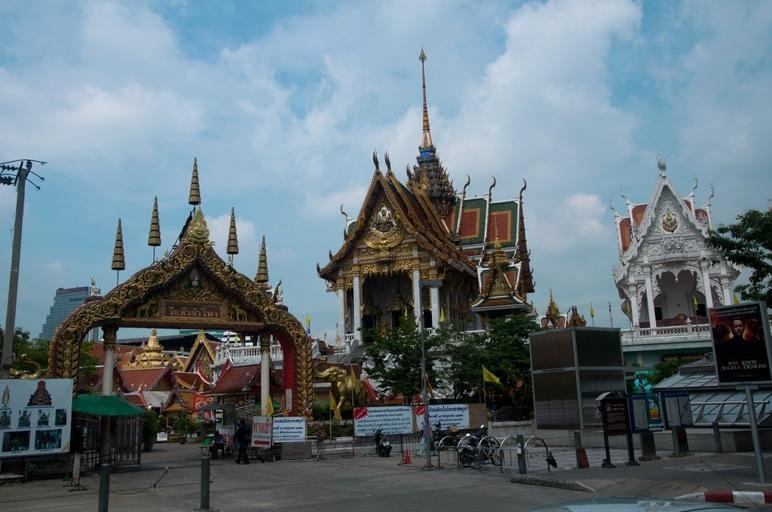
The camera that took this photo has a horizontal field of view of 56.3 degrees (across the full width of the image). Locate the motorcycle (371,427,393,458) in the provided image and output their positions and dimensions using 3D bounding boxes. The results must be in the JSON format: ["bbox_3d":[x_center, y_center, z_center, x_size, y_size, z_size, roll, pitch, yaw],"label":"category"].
[{"bbox_3d":[-0.138,7.859,30.286,0.652,1.155,0.860,-3,-15,-2],"label":"motorcycle"}]

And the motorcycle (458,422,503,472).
[{"bbox_3d":[3.341,7.126,26.381,0.866,1.130,2.278,1,-19,-2],"label":"motorcycle"}]

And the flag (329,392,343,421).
[{"bbox_3d":[-2.458,7.627,36.492,0.572,1.525,2.378,-2,-15,-8],"label":"flag"}]

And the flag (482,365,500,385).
[{"bbox_3d":[5.515,6.359,38.247,0.709,0.878,1.119,-5,-15,6],"label":"flag"}]

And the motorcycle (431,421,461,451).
[{"bbox_3d":[2.520,7.512,29.961,1.190,0.683,0.751,4,-20,-5],"label":"motorcycle"}]
